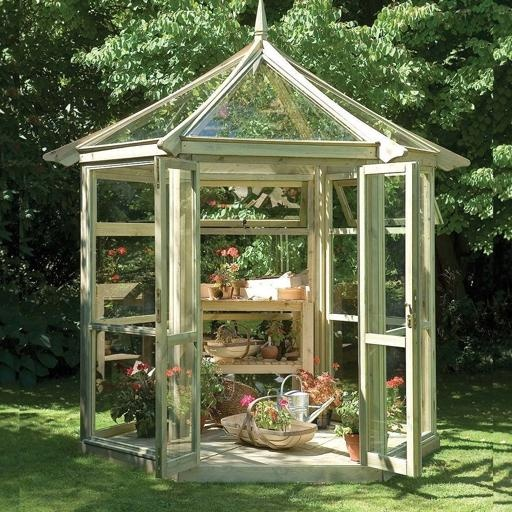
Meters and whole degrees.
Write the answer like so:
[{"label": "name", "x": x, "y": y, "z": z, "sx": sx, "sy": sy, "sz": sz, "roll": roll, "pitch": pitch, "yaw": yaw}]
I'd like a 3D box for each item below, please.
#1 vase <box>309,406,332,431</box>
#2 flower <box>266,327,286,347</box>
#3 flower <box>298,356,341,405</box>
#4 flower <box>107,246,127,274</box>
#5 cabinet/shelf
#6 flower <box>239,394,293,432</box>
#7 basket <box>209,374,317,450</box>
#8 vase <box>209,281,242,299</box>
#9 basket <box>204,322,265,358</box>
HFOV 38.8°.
[{"label": "vase", "x": 0.739, "y": 1.779, "z": 7.970, "sx": 0.235, "sy": 0.184, "sz": 0.209, "roll": -4, "pitch": 1, "yaw": 20}, {"label": "flower", "x": 0.240, "y": 0.935, "z": 8.529, "sx": 0.211, "sy": 0.194, "sz": 0.060, "roll": 1, "pitch": -9, "yaw": -15}, {"label": "flower", "x": 0.714, "y": 1.340, "z": 7.830, "sx": 0.296, "sy": 0.448, "sz": 0.496, "roll": 19, "pitch": -6, "yaw": 28}, {"label": "flower", "x": -1.374, "y": 0.033, "z": 7.199, "sx": 0.202, "sy": 0.274, "sz": 0.085, "roll": 1, "pitch": 0, "yaw": -1}, {"label": "cabinet/shelf", "x": -0.063, "y": 0.962, "z": 8.489, "sx": 1.400, "sy": 0.887, "sz": 0.741, "roll": 0, "pitch": -3, "yaw": -11}, {"label": "flower", "x": 0.129, "y": 1.506, "z": 7.149, "sx": 0.449, "sy": 0.311, "sz": 0.610, "roll": 1, "pitch": 0, "yaw": 3}, {"label": "basket", "x": 0.102, "y": 1.567, "z": 7.240, "sx": 0.919, "sy": 0.488, "sz": 0.730, "roll": 1, "pitch": 3, "yaw": 34}, {"label": "vase", "x": -0.336, "y": 0.400, "z": 8.742, "sx": 0.432, "sy": 0.215, "sz": 0.277, "roll": 1, "pitch": 0, "yaw": -13}, {"label": "basket", "x": -0.188, "y": 1.054, "z": 8.426, "sx": 0.594, "sy": 0.182, "sz": 0.421, "roll": 0, "pitch": 3, "yaw": -27}]
